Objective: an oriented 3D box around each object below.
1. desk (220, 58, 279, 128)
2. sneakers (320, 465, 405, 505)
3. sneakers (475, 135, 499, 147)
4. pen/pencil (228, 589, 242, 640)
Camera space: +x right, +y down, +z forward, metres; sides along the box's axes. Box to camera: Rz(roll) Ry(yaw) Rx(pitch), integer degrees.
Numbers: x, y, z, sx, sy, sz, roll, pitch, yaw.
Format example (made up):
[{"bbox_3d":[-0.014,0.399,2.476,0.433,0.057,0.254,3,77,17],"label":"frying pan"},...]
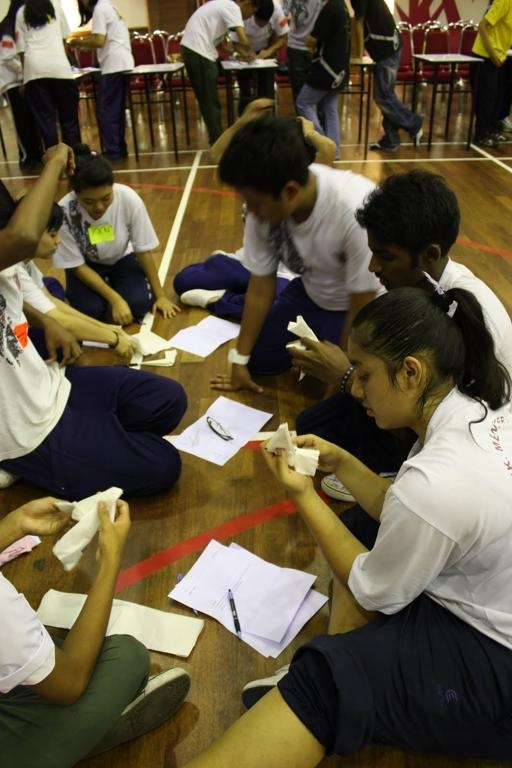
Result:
[{"bbox_3d":[-0.064,-3.576,6.601,0.652,0.689,0.488,7,44,11],"label":"desk"},{"bbox_3d":[0.377,0.359,1.847,0.308,0.118,0.113,5,46,2],"label":"sneakers"},{"bbox_3d":[2.688,-2.839,6.303,0.281,0.095,0.119,16,-2,36],"label":"sneakers"},{"bbox_3d":[-0.064,0.628,1.464,0.017,0.017,0.155,20,26,-22],"label":"pen/pencil"}]
